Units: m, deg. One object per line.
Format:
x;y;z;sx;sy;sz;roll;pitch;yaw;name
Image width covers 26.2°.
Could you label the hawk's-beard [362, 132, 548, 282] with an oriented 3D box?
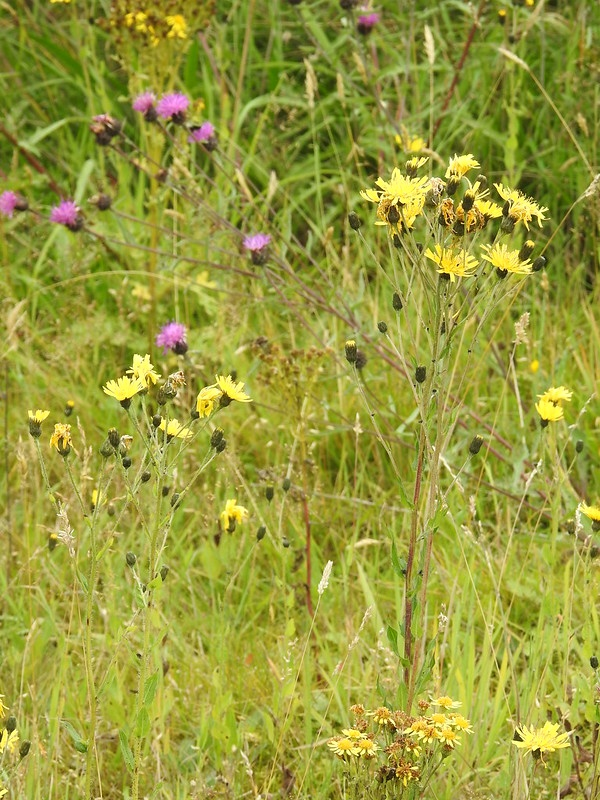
0.337;-0.426;2.844;0.333;0.290;0.382;22;23;-3;hawk's-beard
